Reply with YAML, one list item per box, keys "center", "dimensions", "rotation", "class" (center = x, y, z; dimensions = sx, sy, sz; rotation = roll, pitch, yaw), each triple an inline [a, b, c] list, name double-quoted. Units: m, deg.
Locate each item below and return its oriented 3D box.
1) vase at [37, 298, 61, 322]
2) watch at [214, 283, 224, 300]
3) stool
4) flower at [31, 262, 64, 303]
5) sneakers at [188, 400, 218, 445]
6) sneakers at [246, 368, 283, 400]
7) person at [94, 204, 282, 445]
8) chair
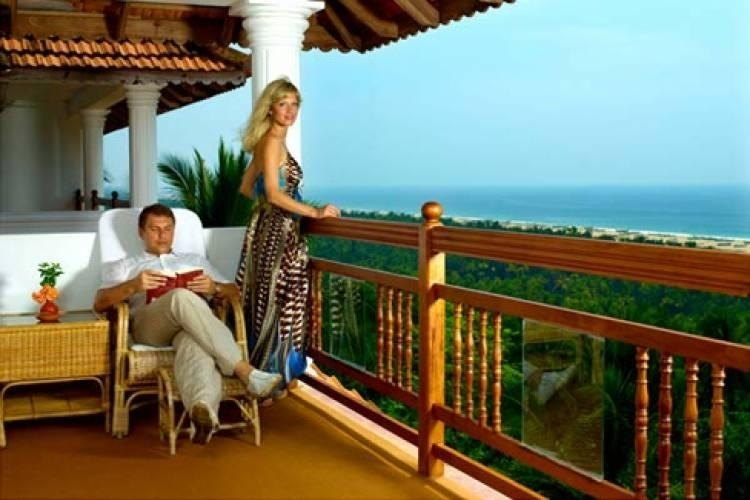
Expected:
- center: [-2.338, 0.448, 4.295]
  dimensions: [0.171, 0.169, 0.174]
  rotation: [1, -1, -15]
  class: "vase"
- center: [-1.113, 0.296, 4.206]
  dimensions: [0.093, 0.097, 0.096]
  rotation: [-6, 10, -21]
  class: "watch"
- center: [-1.100, 1.034, 3.967]
  dimensions: [0.568, 0.552, 0.437]
  rotation: [0, -3, -23]
  class: "stool"
- center: [-2.386, 0.262, 4.303]
  dimensions: [0.194, 0.290, 0.199]
  rotation: [9, -6, -2]
  class: "flower"
- center: [-1.050, 1.045, 3.613]
  dimensions: [0.177, 0.283, 0.122]
  rotation: [0, 10, -4]
  class: "sneakers"
- center: [-0.712, 0.867, 3.773]
  dimensions: [0.213, 0.180, 0.107]
  rotation: [3, 11, 14]
  class: "sneakers"
- center: [-1.351, 0.386, 4.097]
  dimensions: [0.787, 1.133, 1.889]
  rotation: [3, 8, -38]
  class: "person"
- center: [-1.377, 0.378, 4.096]
  dimensions: [0.827, 1.251, 2.002]
  rotation: [6, 4, -36]
  class: "chair"
